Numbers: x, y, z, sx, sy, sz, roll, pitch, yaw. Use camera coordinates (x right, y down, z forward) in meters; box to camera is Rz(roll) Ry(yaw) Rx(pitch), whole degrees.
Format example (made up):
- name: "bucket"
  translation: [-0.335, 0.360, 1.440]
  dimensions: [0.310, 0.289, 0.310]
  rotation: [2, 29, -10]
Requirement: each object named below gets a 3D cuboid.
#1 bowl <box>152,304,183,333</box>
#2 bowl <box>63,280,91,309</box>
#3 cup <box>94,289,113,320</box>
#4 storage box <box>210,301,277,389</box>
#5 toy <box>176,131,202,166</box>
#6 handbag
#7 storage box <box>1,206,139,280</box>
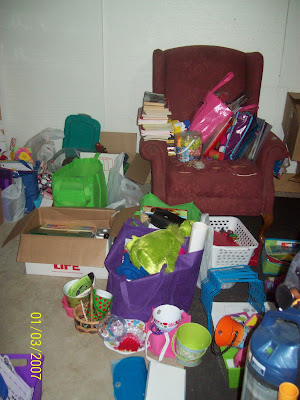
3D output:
- name: "bowl"
  translation: [0.060, 0.446, 1.185]
  dimensions: [0.095, 0.050, 0.104]
  rotation: [11, 23, 25]
- name: "bowl"
  translation: [-0.336, 0.424, 1.406]
  dimensions: [0.110, 0.077, 0.113]
  rotation: [6, 35, -4]
- name: "cup"
  translation: [-0.197, 0.437, 1.297]
  dimensions: [0.075, 0.074, 0.121]
  rotation: [-1, 21, -7]
- name: "storage box"
  translation: [0.365, 0.587, 1.327]
  dimensions: [0.177, 0.081, 0.356]
  rotation: [-2, 31, 5]
- name: "toy"
  translation: [0.242, -0.355, 2.126]
  dimensions: [0.182, 0.190, 0.195]
  rotation: [-3, 27, 0]
- name: "handbag"
  translation: [0.425, -0.702, 2.257]
  dimensions: [0.250, 0.449, 0.141]
  rotation: [19, 36, -48]
- name: "storage box"
  translation: [-0.487, 0.222, 1.746]
  dimensions: [0.674, 0.260, 0.496]
  rotation: [2, 21, 3]
